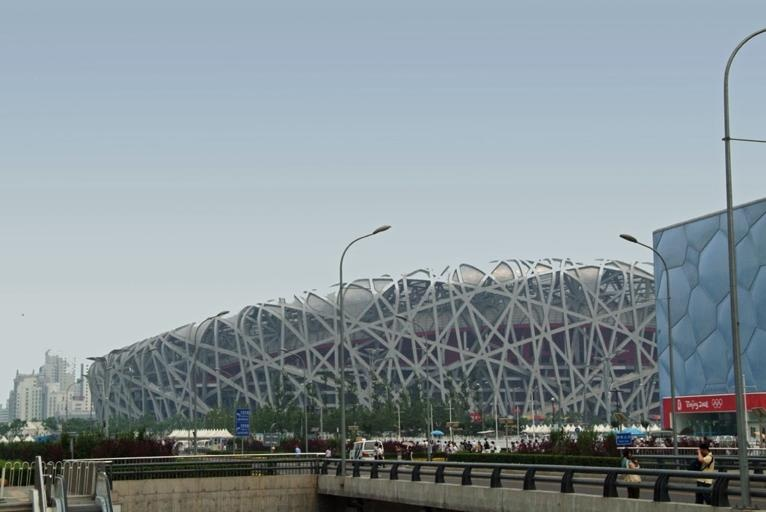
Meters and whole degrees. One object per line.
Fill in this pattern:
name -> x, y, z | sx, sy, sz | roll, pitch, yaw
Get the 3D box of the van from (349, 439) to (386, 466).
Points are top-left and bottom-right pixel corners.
van -> -1.199, 19.166, 142.862 | 2.265, 1.805, 4.011 | 2, -6, -17
